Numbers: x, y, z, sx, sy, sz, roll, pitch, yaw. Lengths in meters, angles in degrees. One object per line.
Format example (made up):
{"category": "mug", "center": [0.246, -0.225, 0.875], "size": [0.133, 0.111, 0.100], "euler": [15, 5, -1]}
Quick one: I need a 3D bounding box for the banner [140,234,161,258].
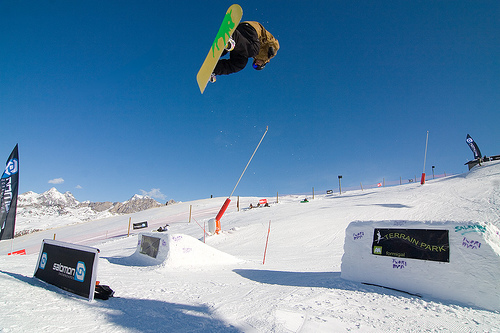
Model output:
{"category": "banner", "center": [-4.469, 3.543, 11.680], "size": [0.307, 0.691, 1.755], "euler": [-5, -3, -45]}
